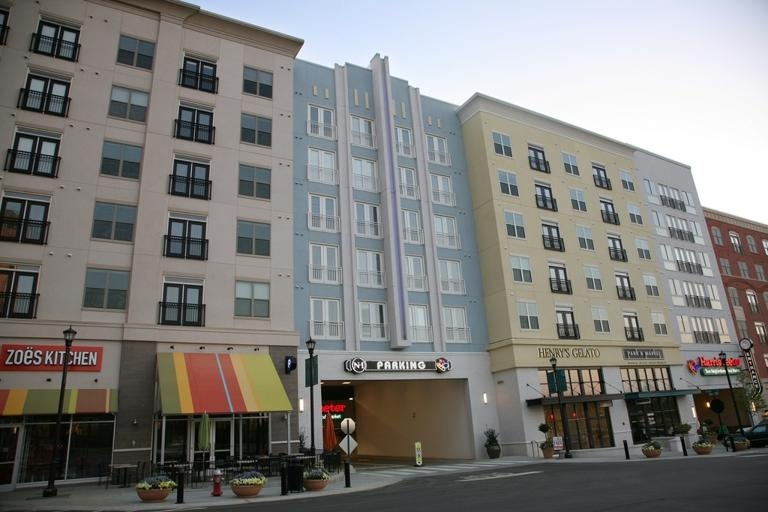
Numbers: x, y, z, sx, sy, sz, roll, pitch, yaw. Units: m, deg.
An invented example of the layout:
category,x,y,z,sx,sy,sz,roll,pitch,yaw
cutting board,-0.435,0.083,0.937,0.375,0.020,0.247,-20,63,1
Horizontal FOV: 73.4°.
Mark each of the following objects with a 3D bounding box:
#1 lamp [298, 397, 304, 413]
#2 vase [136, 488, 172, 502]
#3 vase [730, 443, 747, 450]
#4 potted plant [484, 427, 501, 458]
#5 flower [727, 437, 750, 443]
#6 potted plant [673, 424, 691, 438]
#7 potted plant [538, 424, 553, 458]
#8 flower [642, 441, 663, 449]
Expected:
category,x,y,z,sx,sy,sz,roll,pitch,yaw
lamp,-5.384,9.511,33.096,0.261,0.870,0.586,-12,-21,19
vase,-10.239,10.516,22.855,0.930,0.299,0.893,7,-17,-21
vase,23.718,12.580,34.183,0.651,0.406,0.632,14,-19,-28
potted plant,8.056,13.763,38.242,1.260,2.070,1.234,1,-21,-16
flower,24.072,12.335,34.832,0.866,0.269,0.857,1,-15,-1
potted plant,24.722,14.214,42.717,1.298,0.773,1.727,-13,-21,23
potted plant,11.733,13.200,37.286,0.907,2.326,2.396,-10,-20,13
flower,17.650,12.578,33.865,0.966,0.819,1.295,-16,-22,28
